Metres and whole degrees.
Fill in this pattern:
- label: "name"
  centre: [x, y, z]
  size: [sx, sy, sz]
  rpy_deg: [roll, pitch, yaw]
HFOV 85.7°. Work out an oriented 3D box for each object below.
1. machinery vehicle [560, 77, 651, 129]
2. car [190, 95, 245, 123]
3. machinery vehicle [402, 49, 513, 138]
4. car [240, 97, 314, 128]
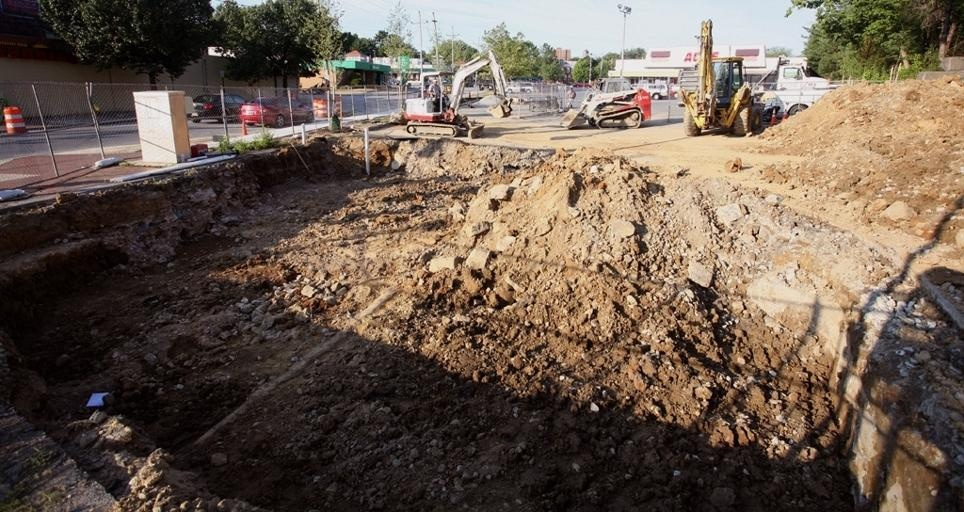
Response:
- label: "machinery vehicle"
  centre: [6.193, -7.406, 25.437]
  size: [3.755, 1.968, 2.352]
  rpy_deg: [1, 26, 1]
- label: "car"
  centre: [-14.334, -7.928, 27.956]
  size: [3.243, 1.374, 2.371]
  rpy_deg: [6, 25, 16]
- label: "machinery vehicle"
  centre: [-1.075, -7.160, 23.052]
  size: [4.698, 3.668, 2.575]
  rpy_deg: [5, 16, 13]
- label: "car"
  centre: [-10.215, -7.266, 26.233]
  size: [1.673, 1.449, 3.537]
  rpy_deg: [13, 27, 29]
